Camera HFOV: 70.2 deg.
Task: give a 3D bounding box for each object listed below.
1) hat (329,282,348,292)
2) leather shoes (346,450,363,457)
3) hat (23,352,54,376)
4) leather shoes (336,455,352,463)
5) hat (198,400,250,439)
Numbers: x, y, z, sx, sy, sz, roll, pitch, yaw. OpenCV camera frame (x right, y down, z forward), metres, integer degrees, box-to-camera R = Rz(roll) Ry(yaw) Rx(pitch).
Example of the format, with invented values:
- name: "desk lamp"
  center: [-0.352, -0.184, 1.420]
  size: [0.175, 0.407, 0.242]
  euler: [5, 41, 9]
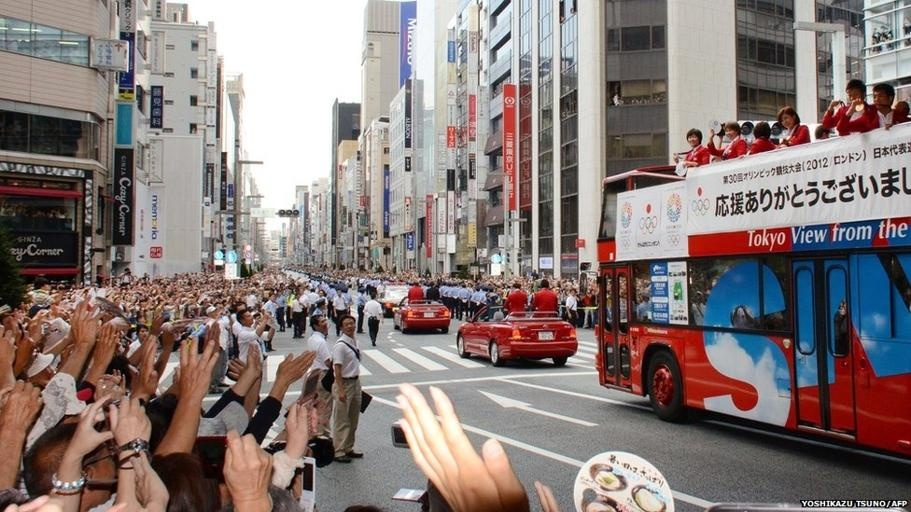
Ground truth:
- name: "hat"
  center: [-6.483, 1.693, 35.899]
  size: [0.810, 0.223, 0.780]
  euler: [5, 5, 42]
- name: "leather shoes"
  center: [-1.949, 3.861, 12.752]
  size: [0.342, 0.154, 0.120]
  euler: [1, -1, -6]
- name: "hat"
  center: [-6.229, 1.614, 9.698]
  size: [0.326, 0.134, 0.333]
  euler: [-29, 7, 24]
- name: "leather shoes"
  center: [-2.159, 3.908, 12.565]
  size: [0.131, 0.106, 0.253]
  euler: [5, -12, -39]
- name: "hat"
  center: [-3.264, 2.142, 9.130]
  size: [0.360, 0.479, 0.767]
  euler: [-38, -51, 19]
